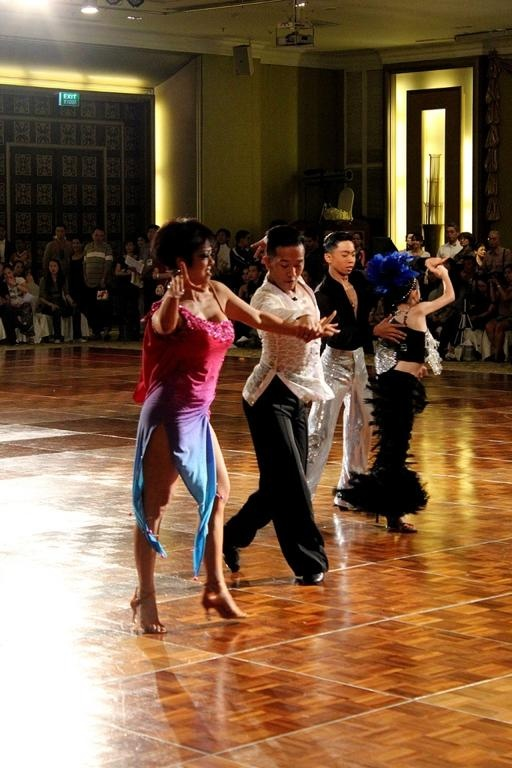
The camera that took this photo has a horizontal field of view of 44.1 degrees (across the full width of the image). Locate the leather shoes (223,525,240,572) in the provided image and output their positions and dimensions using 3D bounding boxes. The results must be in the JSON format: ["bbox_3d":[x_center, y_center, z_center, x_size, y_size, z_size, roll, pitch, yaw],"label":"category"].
[{"bbox_3d":[-0.116,0.771,2.997,0.074,0.206,0.093,-13,-3,10],"label":"leather shoes"}]

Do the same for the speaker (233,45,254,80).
[{"bbox_3d":[-0.302,-8.009,15.603,0.383,0.770,0.564,-4,8,-37],"label":"speaker"}]

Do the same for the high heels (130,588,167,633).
[{"bbox_3d":[-0.370,0.763,2.157,0.138,0.161,0.087,2,7,9],"label":"high heels"}]

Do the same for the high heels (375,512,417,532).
[{"bbox_3d":[0.862,0.817,3.751,0.171,0.092,0.187,2,6,9],"label":"high heels"}]

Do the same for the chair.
[{"bbox_3d":[-5.238,-1.752,15.373,1.780,1.899,1.620,1,7,18],"label":"chair"}]
